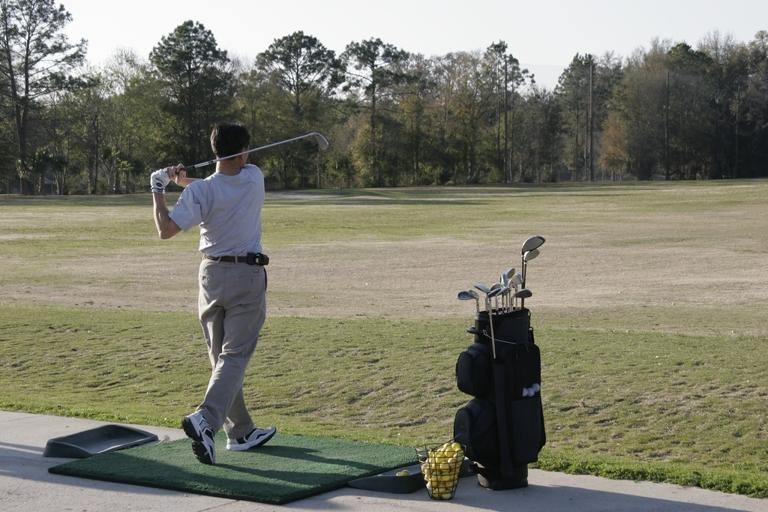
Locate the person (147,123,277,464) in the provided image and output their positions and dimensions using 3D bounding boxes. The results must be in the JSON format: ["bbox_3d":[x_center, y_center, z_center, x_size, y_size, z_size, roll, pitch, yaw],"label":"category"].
[{"bbox_3d":[-2.032,0.415,12.351,1.227,4.067,0.999,1,2,-7],"label":"person"}]

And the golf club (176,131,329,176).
[{"bbox_3d":[-1.632,-1.293,13.158,1.918,0.269,0.149,-11,-41,13],"label":"golf club"}]
